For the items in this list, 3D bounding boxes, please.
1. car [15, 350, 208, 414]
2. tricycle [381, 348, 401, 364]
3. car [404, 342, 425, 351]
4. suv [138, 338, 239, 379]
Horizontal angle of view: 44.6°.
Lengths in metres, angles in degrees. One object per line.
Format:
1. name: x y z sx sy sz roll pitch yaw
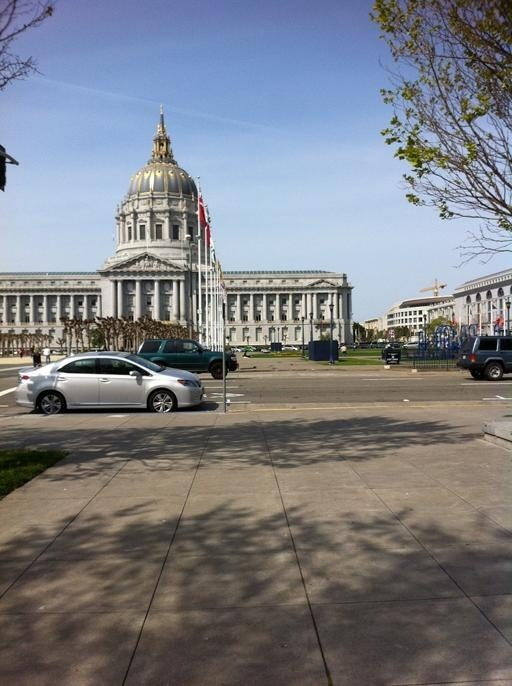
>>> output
1. car: -3.352 0.922 14.322 3.546 1.076 1.654 -1 0 -5
2. tricycle: 9.003 0.860 41.293 0.873 0.866 1.440 -1 -5 1
3. car: 16.477 0.294 65.456 1.279 0.597 2.215 6 11 43
4. suv: -2.973 0.628 26.717 3.963 1.553 1.732 -1 1 -8
